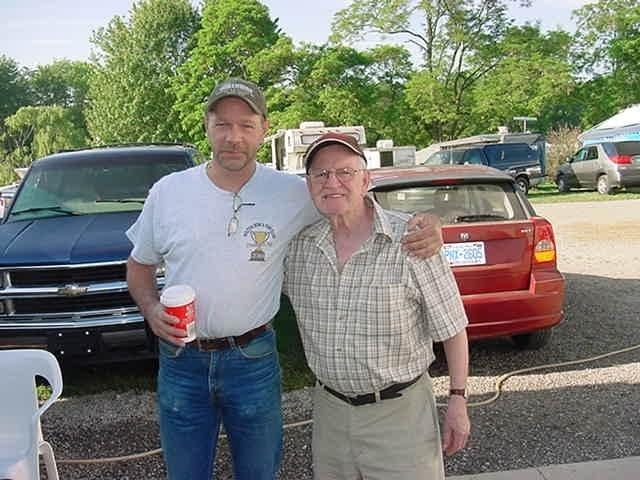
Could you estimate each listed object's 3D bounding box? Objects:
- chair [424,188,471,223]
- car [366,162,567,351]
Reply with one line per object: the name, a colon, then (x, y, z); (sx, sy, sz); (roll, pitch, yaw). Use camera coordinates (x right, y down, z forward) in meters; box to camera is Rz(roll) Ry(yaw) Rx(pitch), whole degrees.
chair: (1.265, -0.354, 5.640); (0.413, 0.514, 0.387); (0, -2, 4)
car: (1.688, 0.043, 5.392); (1.262, 1.017, 2.181); (-5, 17, -4)
